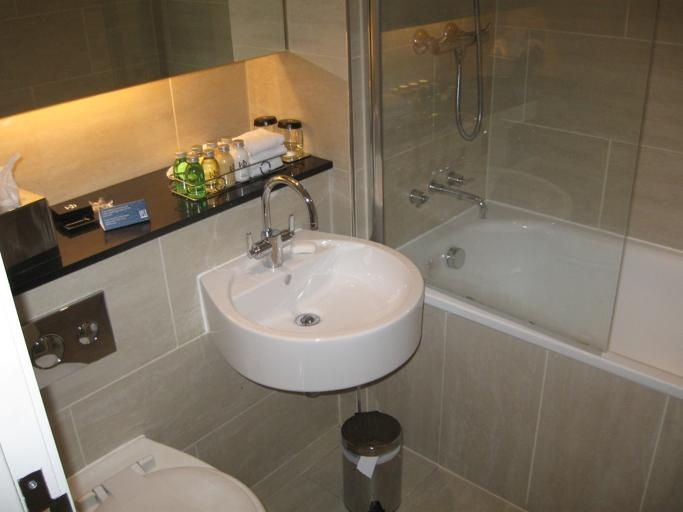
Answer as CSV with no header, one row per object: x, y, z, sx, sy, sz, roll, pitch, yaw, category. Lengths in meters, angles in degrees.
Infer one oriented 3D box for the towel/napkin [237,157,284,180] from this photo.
-0.308,-0.319,2.011,0.101,0.033,0.103,22,35,34,towel/napkin

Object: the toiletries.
-0.384,-0.388,2.038,0.210,0.168,0.580,22,38,38,toiletries

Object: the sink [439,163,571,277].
0.634,-0.194,2.247,0.352,0.738,0.228,17,21,39,sink

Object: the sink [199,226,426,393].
-0.098,0.181,1.903,0.730,0.266,0.724,7,26,13,sink
